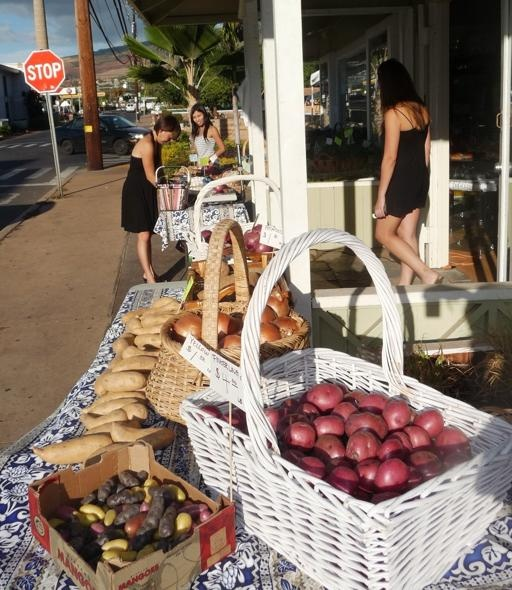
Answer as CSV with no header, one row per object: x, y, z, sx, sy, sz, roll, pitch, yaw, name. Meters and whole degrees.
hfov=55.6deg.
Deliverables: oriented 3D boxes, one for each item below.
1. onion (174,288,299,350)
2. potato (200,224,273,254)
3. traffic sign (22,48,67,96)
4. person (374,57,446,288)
-0.056,0.088,1.533,0.228,0.077,0.215,6,14,21,onion
-0.108,-0.360,2.718,0.370,0.070,0.255,6,-20,0,potato
-4.933,-5.192,11.181,0.832,1.003,0.902,-10,20,-17,traffic sign
1.016,-0.872,3.385,0.573,1.567,0.542,18,28,39,person
